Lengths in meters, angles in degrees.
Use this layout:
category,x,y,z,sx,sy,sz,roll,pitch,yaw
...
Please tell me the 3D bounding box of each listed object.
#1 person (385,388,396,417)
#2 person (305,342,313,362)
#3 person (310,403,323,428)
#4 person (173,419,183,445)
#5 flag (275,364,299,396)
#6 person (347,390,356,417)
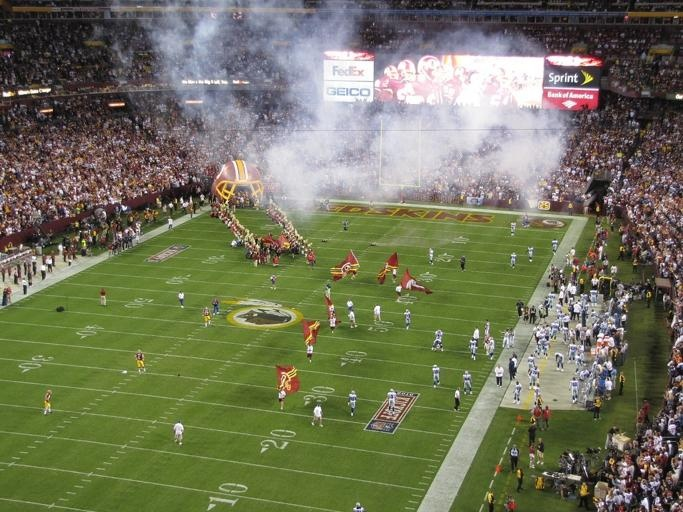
category,x,y,z,sx,sy,sz,roll,pitch,yaw
person,2.103,6.175,38.333,0.397,0.879,1.498,-5,21,7
person,-1.629,4.475,42.366,0.369,0.884,1.193,-7,21,-1
person,-1.109,6.826,37.334,0.585,1.180,0.388,9,43,4
person,-6.729,7.268,35.921,0.465,1.061,0.378,15,42,3
flag,-2.612,5.454,38.748,1.156,1.195,0.310,24,-16,-40
person,0.369,6.149,38.088,0.385,1.031,1.307,-6,21,2
